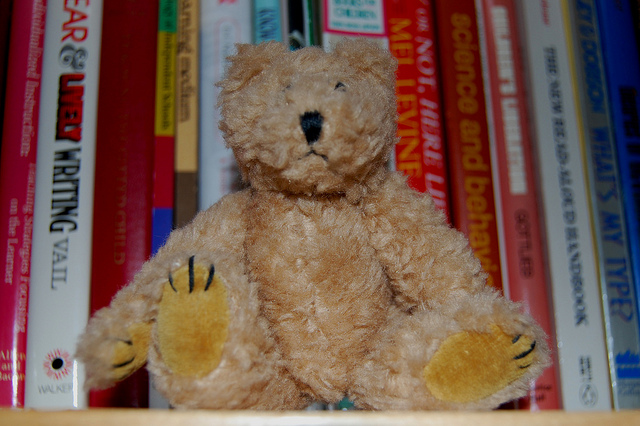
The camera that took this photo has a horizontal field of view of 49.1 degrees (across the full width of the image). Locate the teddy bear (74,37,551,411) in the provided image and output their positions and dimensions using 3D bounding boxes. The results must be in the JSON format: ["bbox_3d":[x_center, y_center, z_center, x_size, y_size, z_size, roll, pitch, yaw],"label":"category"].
[{"bbox_3d":[-0.015,0.031,1.069,0.652,0.356,0.568,-2,95,5],"label":"teddy bear"}]
